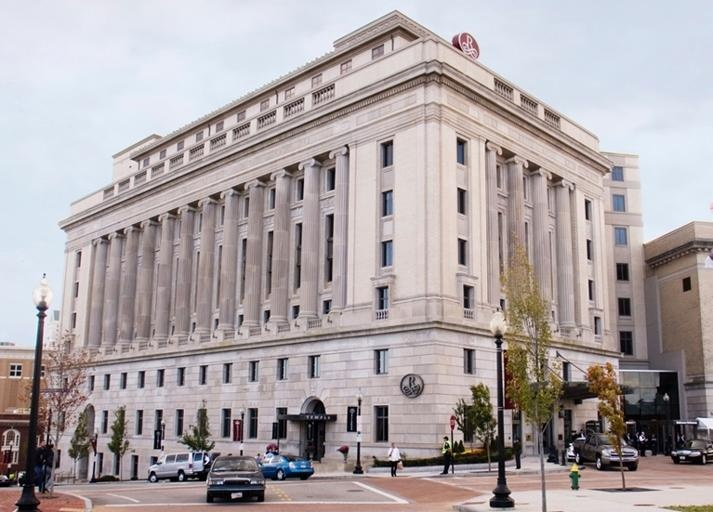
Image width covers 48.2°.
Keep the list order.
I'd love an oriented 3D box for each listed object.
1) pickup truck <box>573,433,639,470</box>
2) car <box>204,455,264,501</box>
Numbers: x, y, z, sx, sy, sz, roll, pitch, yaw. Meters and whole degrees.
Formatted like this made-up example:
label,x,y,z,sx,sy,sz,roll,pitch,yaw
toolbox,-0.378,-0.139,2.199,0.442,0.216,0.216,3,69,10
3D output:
label,x,y,z,sx,sy,sz,roll,pitch,yaw
pickup truck,19.839,15.593,63.690,3.091,2.672,7.383,4,-10,-2
car,-7.301,13.277,47.571,3.199,2.692,7.184,2,-13,-10
